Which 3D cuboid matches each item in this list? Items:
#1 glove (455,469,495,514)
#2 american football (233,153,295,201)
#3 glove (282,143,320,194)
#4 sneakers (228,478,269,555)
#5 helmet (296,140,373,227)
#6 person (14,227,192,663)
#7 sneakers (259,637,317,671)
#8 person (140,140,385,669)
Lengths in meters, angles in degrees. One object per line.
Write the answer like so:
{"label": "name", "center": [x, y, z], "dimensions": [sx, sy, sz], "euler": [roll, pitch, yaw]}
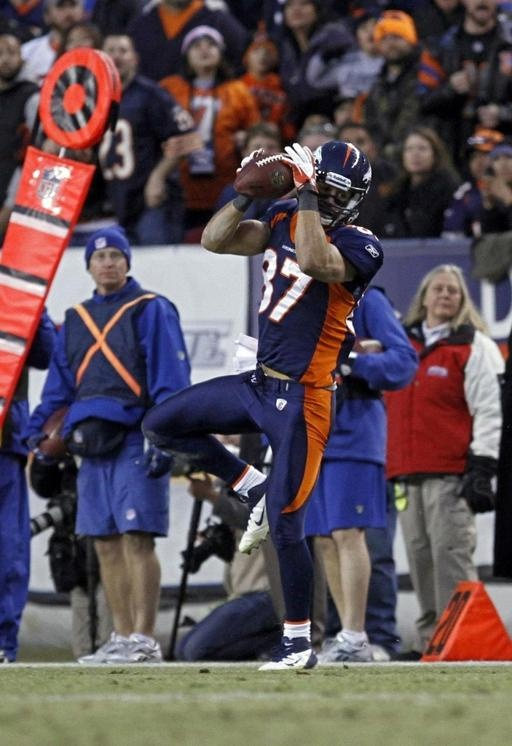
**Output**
{"label": "glove", "center": [1.045, 0.552, 6.495], "dimensions": [0.159, 0.180, 0.099], "euler": [20, 30, 35]}
{"label": "american football", "center": [0.039, -0.774, 5.502], "dimensions": [0.266, 0.133, 0.168], "euler": [-2, -1, 1]}
{"label": "glove", "center": [0.208, -0.790, 5.432], "dimensions": [0.158, 0.170, 0.158], "euler": [0, -2, 6]}
{"label": "sneakers", "center": [-0.050, 0.557, 5.579], "dimensions": [0.148, 0.245, 0.396], "euler": [-2, 20, 18]}
{"label": "helmet", "center": [0.321, -0.753, 5.578], "dimensions": [0.225, 0.329, 0.218], "euler": [2, 17, 31]}
{"label": "person", "center": [-0.702, 0.351, 6.590], "dimensions": [0.952, 1.972, 0.614], "euler": [-2, -4, 37]}
{"label": "sneakers", "center": [0.130, 1.057, 5.263], "dimensions": [0.211, 0.120, 0.318], "euler": [1, -5, 1]}
{"label": "person", "center": [0.104, 0.092, 5.681], "dimensions": [1.003, 2.026, 1.005], "euler": [-4, 7, 20]}
